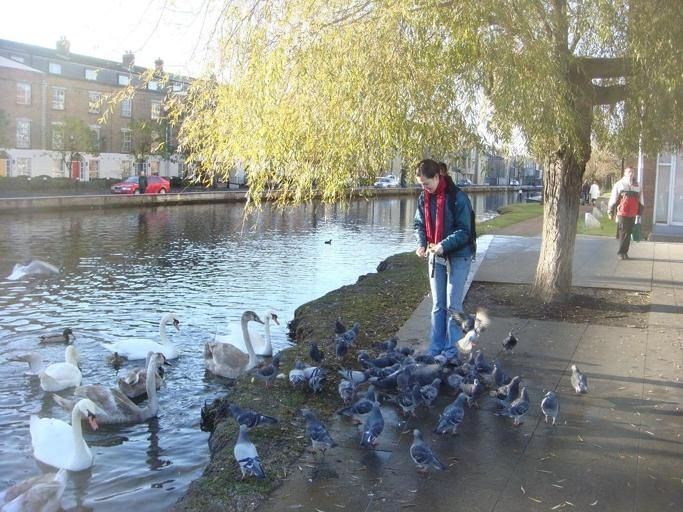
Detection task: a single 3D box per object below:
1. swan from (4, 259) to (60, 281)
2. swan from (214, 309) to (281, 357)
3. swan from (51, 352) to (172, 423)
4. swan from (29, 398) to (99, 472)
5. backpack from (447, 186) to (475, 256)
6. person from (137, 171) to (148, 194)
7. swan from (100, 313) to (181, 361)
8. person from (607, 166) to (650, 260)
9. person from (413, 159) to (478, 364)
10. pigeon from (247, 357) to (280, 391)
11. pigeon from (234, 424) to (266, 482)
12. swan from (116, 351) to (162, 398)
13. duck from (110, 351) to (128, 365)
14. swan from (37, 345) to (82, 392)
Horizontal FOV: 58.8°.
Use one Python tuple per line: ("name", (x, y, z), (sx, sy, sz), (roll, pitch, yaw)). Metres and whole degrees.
("swan", (-9.046, 0.416, 17.730), (0.834, 0.355, 0.802), (-5, 11, -30))
("swan", (-1.654, 1.533, 11.902), (1.141, 0.895, 1.296), (5, 10, -40))
("swan", (-3.358, 2.111, 9.595), (1.933, 1.634, 0.811), (3, 8, -18))
("swan", (-3.671, 2.280, 7.982), (1.057, 1.000, 0.526), (15, 8, 19))
("backpack", (1.765, -0.519, 8.896), (0.429, 1.085, 0.409), (-3, 9, -2))
("person", (-14.968, -5.399, 45.576), (0.575, 1.597, 2.849), (-6, 10, -20))
("swan", (-3.669, 1.654, 11.765), (1.359, 0.893, 1.304), (11, 10, 28))
("person", (8.278, -1.293, 17.672), (0.861, 2.547, 0.567), (-2, 13, 9))
("person", (1.483, 0.118, 9.159), (0.860, 3.114, 1.012), (-8, 10, -29))
("pigeon", (-1.153, 1.647, 8.623), (0.495, 0.597, 0.252), (-2, 8, -26))
("pigeon", (-0.979, 2.047, 6.368), (0.288, 0.527, 0.710), (-5, 10, -12))
("swan", (-3.407, 2.091, 10.088), (0.415, 0.631, 1.438), (4, 11, 8))
("duck", (-4.154, 1.923, 11.220), (0.214, 0.197, 0.261), (-2, 32, -16))
("swan", (-4.603, 1.886, 10.196), (0.436, 0.635, 0.864), (7, 10, 9))
